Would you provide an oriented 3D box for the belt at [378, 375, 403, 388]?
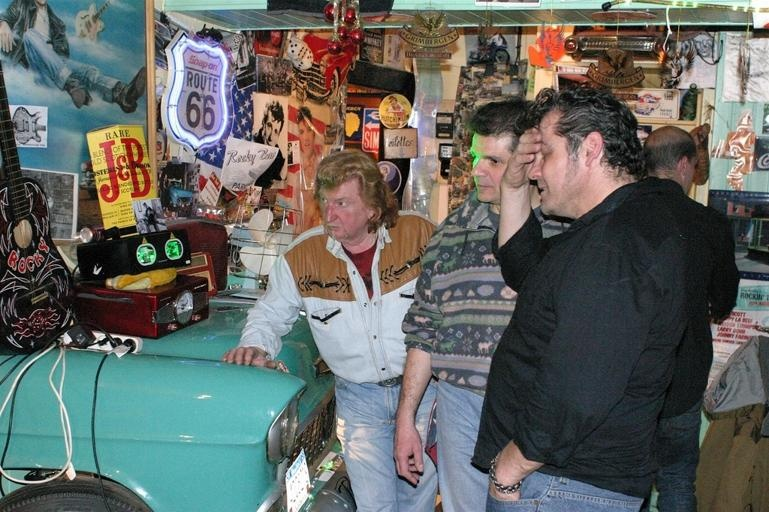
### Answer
[{"bbox_3d":[0.040,0.693,3.281,0.092,0.034,0.064,-9,-3,-23],"label":"belt"}]

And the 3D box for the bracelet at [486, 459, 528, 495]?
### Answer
[{"bbox_3d":[0.476,0.853,2.309,0.176,0.196,0.073,-3,-6,8],"label":"bracelet"}]
